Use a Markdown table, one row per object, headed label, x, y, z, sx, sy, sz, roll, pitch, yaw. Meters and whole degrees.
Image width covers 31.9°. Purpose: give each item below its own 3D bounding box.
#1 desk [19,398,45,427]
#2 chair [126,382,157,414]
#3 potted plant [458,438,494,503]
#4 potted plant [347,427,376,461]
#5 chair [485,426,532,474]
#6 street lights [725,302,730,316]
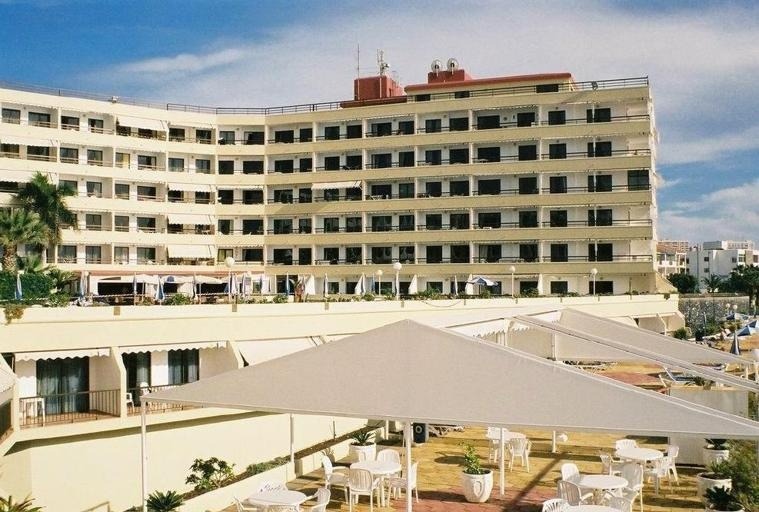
| label | x | y | z | sx | sy | sz | roll | pitch | yaw |
| --- | --- | --- | --- | --- | --- | --- | --- | --- | --- |
| desk | -18.971 | 8.639 | 72.511 | 1.457 | 0.934 | 1.476 | -3 | -3 | 37 |
| chair | -13.557 | 7.988 | 74.650 | 1.492 | 1.537 | 2.192 | -2 | -1 | 3 |
| potted plant | 4.896 | 10.951 | 66.341 | 1.533 | 2.807 | 1.705 | -2 | 0 | 7 |
| potted plant | -0.684 | 9.950 | 69.639 | 1.537 | 1.771 | 1.337 | 1 | -3 | -26 |
| chair | 6.719 | 10.067 | 68.718 | 2.167 | 2.227 | 2.098 | -2 | -1 | 7 |
| street lights | 33.402 | 5.252 | 127.301 | 0.334 | 1.130 | 0.335 | 3 | -17 | 6 |
